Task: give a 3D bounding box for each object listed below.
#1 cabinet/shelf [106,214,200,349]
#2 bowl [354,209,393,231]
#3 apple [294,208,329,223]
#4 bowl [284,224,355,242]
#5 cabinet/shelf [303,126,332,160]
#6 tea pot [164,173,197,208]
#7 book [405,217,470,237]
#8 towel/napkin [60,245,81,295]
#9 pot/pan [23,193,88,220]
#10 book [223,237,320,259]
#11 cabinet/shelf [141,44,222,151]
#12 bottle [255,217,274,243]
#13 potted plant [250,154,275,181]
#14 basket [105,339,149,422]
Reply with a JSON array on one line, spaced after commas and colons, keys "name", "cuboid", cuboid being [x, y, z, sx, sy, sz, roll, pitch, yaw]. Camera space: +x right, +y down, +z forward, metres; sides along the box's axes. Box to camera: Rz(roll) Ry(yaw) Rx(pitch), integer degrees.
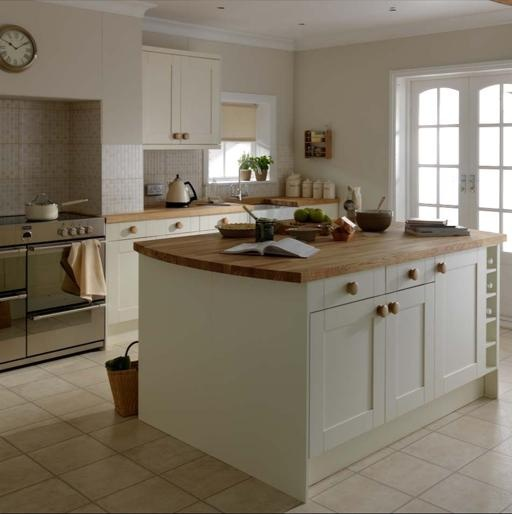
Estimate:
[{"name": "cabinet/shelf", "cuboid": [-0.672, 0.175, 4.024, 1.188, 1.007, 0.584, -5, -10, 43]}, {"name": "bowl", "cuboid": [0.745, -0.230, 3.019, 0.214, 0.139, 0.201, 0, 6, 0]}, {"name": "apple", "cuboid": [0.347, -0.256, 3.017, 0.133, 0.048, 0.129, -1, 1, -42]}, {"name": "bowl", "cuboid": [0.357, -0.141, 2.759, 0.362, 0.078, 0.342, 0, 6, 0]}, {"name": "cabinet/shelf", "cuboid": [0.761, -1.385, 5.749, 0.463, 0.406, 0.157, 4, 6, 41]}, {"name": "tea pot", "cuboid": [-0.713, -0.648, 4.661, 0.337, 0.288, 0.210, -2, 12, -18]}, {"name": "book", "cuboid": [1.071, -0.178, 2.857, 0.373, 0.099, 0.256, 2, 6, 22]}, {"name": "towel/napkin", "cuboid": [-1.387, 0.108, 3.567, 0.097, 0.283, 0.239, 3, 10, 22]}, {"name": "pot/pan", "cuboid": [-1.473, -0.365, 3.716, 0.555, 0.202, 0.270, -1, 2, -17]}, {"name": "book", "cuboid": [0.089, -0.049, 2.305, 0.422, 0.069, 0.286, 2, 6, 17]}, {"name": "cabinet/shelf", "cuboid": [-0.552, -1.593, 4.820, 1.026, 0.859, 0.696, 13, 25, 26]}, {"name": "bottle", "cuboid": [0.046, -0.142, 2.492, 0.121, 0.116, 0.112, -1, 6, -16]}, {"name": "potted plant", "cuboid": [0.069, -1.080, 5.776, 0.320, 0.267, 0.308, 0, 4, 20]}, {"name": "basket", "cuboid": [-0.763, 0.682, 2.763, 0.175, 0.483, 0.377, -2, 6, -18]}]
